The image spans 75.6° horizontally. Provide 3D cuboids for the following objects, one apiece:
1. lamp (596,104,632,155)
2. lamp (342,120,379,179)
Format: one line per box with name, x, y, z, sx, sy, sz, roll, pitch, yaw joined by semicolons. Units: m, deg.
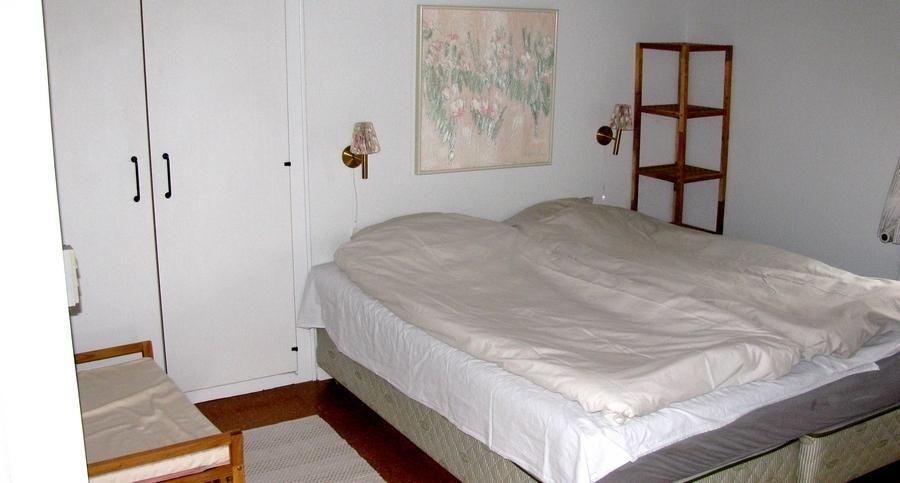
lamp;1.508;-0.982;5.133;0.387;0.451;0.214;-9;16;-27
lamp;-0.644;-0.674;4.315;0.311;0.422;0.195;-7;15;-20
